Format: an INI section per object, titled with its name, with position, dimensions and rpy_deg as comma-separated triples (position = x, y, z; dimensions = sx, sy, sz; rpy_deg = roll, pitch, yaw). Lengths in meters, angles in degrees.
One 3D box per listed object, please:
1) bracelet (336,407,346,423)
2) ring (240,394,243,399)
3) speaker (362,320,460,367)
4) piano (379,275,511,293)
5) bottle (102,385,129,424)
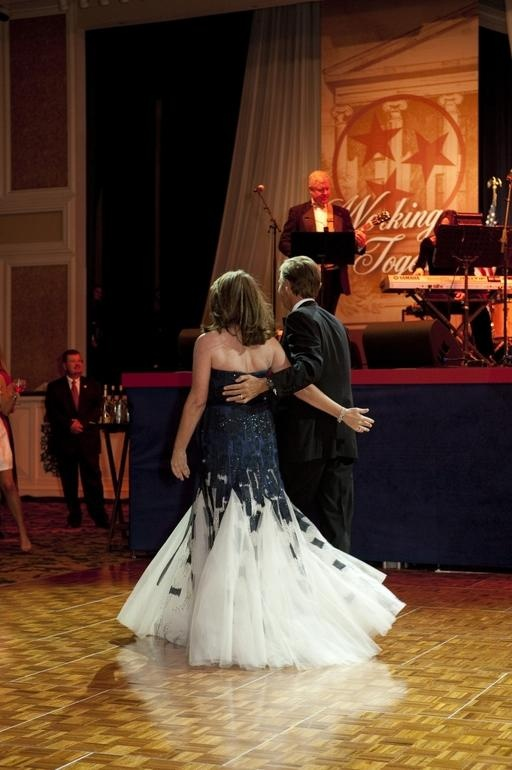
[bracelet]
position = 0.323, 0.112, 2.627
dimensions = 0.019, 0.048, 0.042
rpy_deg = 5, -4, -18
[ring]
position = -0.053, 0.046, 2.460
dimensions = 0.011, 0.013, 0.006
rpy_deg = 4, 5, 25
[speaker]
position = 1.107, -0.286, 5.216
dimensions = 0.615, 0.462, 0.364
rpy_deg = -2, 4, 9
[piano]
position = 1.731, -0.895, 6.307
dimensions = 1.251, 0.184, 0.436
rpy_deg = 1, 4, -5
[bottle]
position = -1.218, 0.172, 6.118
dimensions = 0.185, 0.460, 0.180
rpy_deg = 0, -20, 0
